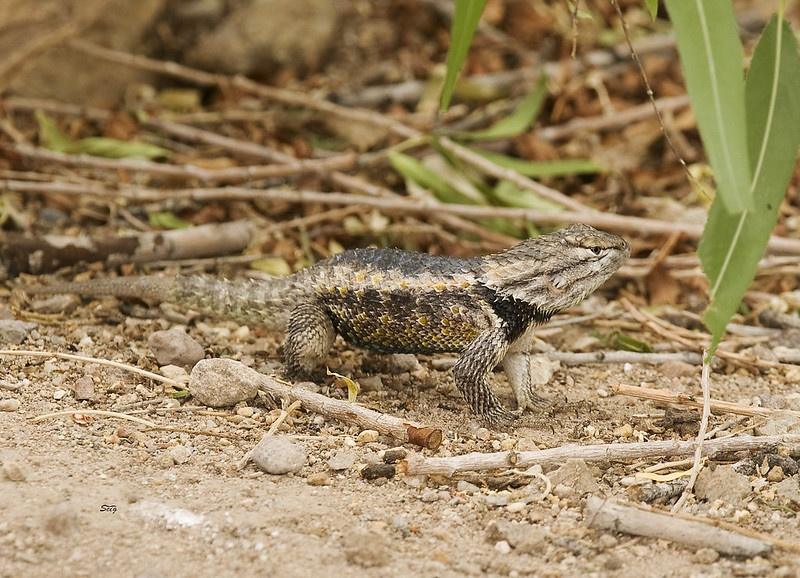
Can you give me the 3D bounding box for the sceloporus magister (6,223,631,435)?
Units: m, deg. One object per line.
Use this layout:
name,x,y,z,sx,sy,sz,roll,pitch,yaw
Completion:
sceloporus magister,-0.162,0.006,4.186,2.237,0.794,0.748,11,24,13
